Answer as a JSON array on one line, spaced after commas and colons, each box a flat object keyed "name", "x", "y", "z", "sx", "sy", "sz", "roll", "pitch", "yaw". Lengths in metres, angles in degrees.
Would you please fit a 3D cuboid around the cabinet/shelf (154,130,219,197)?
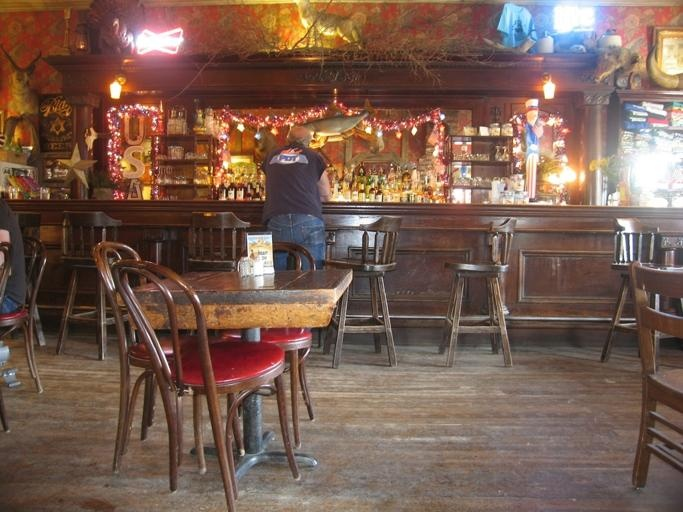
[{"name": "cabinet/shelf", "x": -2.059, "y": -1.255, "z": 8.495, "sx": 0.995, "sy": 1.137, "sz": 0.375, "roll": 1, "pitch": 1, "yaw": -2}]

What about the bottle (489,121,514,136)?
[{"name": "bottle", "x": 2.024, "y": -1.600, "z": 8.078, "sx": 0.282, "sy": 0.162, "sz": 0.300, "roll": 1, "pitch": 12, "yaw": 0}]

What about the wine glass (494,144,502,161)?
[{"name": "wine glass", "x": 2.043, "y": -1.329, "z": 8.208, "sx": 0.094, "sy": 0.187, "sz": 0.247, "roll": 3, "pitch": 13, "yaw": 12}]

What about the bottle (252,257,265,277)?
[{"name": "bottle", "x": -0.534, "y": 0.070, "z": 4.168, "sx": 0.102, "sy": 0.167, "sz": 0.100, "roll": 0, "pitch": 4, "yaw": 0}]

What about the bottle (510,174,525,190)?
[{"name": "bottle", "x": 2.028, "y": -0.843, "z": 7.328, "sx": 0.155, "sy": 0.151, "sz": 0.252, "roll": 3, "pitch": 12, "yaw": 10}]

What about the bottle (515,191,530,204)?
[{"name": "bottle", "x": 1.946, "y": -0.625, "z": 6.875, "sx": 0.169, "sy": 0.171, "sz": 0.249, "roll": 2, "pitch": 2, "yaw": 22}]

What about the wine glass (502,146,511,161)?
[{"name": "wine glass", "x": 2.134, "y": -1.320, "z": 8.188, "sx": 0.112, "sy": 0.180, "sz": 0.199, "roll": 4, "pitch": 13, "yaw": 14}]

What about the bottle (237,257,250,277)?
[{"name": "bottle", "x": -0.621, "y": 0.066, "z": 4.069, "sx": 0.085, "sy": 0.114, "sz": 0.068, "roll": 10, "pitch": 16, "yaw": 37}]

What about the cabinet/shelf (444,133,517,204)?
[{"name": "cabinet/shelf", "x": 1.767, "y": -1.131, "z": 8.036, "sx": 1.130, "sy": 1.250, "sz": 0.411, "roll": 0, "pitch": 14, "yaw": 3}]

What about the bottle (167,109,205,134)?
[{"name": "bottle", "x": -2.054, "y": -1.779, "z": 8.407, "sx": 0.544, "sy": 0.347, "sz": 0.315, "roll": 0, "pitch": 13, "yaw": -5}]

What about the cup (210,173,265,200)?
[{"name": "cup", "x": -1.297, "y": -0.883, "z": 8.096, "sx": 0.564, "sy": 0.246, "sz": 0.536, "roll": 0, "pitch": 4, "yaw": 0}]
